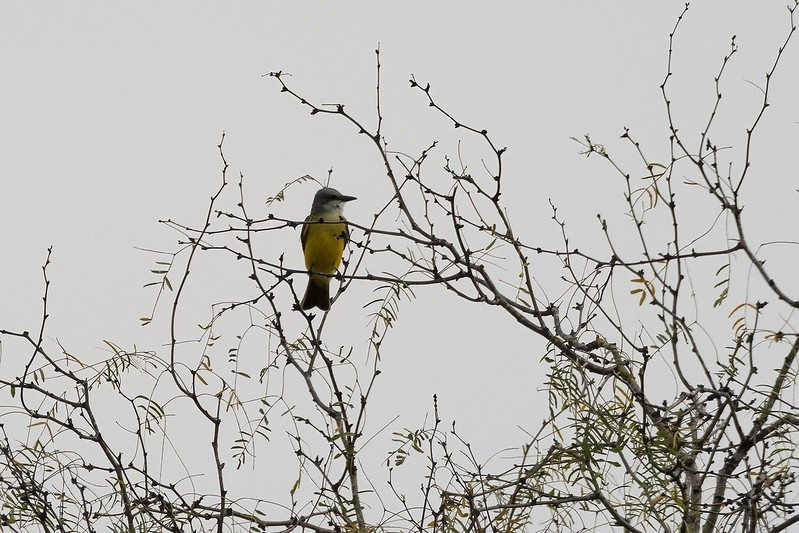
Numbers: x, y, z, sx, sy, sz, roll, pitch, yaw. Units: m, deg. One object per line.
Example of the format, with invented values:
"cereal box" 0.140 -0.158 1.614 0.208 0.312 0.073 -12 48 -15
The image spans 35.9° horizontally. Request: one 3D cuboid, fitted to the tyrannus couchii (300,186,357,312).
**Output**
"tyrannus couchii" -0.432 -0.137 7.306 0.310 0.486 0.837 2 -48 -14
